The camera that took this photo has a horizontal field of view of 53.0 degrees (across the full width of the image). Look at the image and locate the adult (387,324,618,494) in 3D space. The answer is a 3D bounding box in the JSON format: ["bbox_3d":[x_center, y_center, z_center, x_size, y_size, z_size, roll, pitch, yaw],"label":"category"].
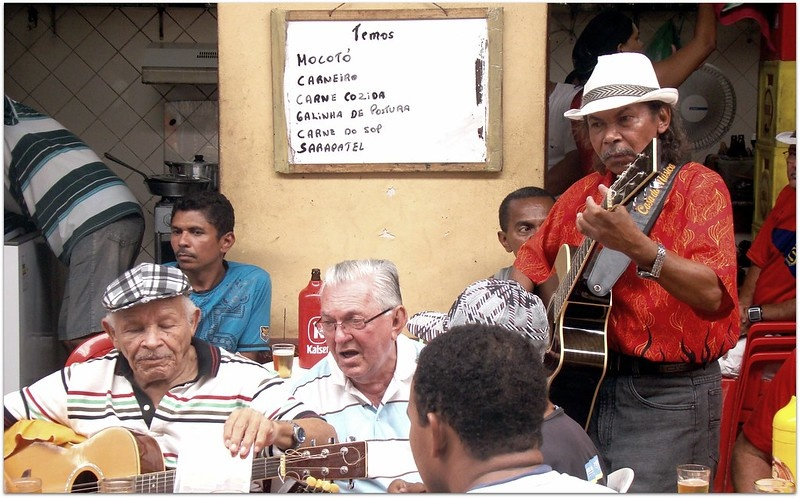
[{"bbox_3d":[0.352,0.693,3.275,0.620,0.415,0.779,-3,24,-12],"label":"adult"}]

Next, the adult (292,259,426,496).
[{"bbox_3d":[-0.215,0.696,4.124,0.972,1.117,0.631,-5,-10,21],"label":"adult"}]

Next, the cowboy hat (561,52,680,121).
[{"bbox_3d":[1.183,-0.849,4.223,0.396,0.212,0.380,-8,1,2],"label":"cowboy hat"}]

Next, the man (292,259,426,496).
[{"bbox_3d":[-0.215,0.696,4.124,0.972,1.117,0.631,-5,-10,21],"label":"man"}]

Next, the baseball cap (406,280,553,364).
[{"bbox_3d":[0.374,0.289,4.046,0.610,0.313,0.401,-2,5,17],"label":"baseball cap"}]

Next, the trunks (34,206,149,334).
[{"bbox_3d":[-2.440,0.310,6.561,0.748,1.395,1.030,11,-16,-17],"label":"trunks"}]

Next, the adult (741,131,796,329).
[{"bbox_3d":[2.574,-0.123,5.599,0.430,1.492,0.584,-4,-1,23],"label":"adult"}]

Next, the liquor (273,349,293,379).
[{"bbox_3d":[-0.687,0.678,4.743,0.149,0.165,0.147,-2,3,-17],"label":"liquor"}]

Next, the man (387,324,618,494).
[{"bbox_3d":[0.332,0.688,3.274,0.620,0.415,0.779,-3,24,-12],"label":"man"}]

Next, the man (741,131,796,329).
[{"bbox_3d":[2.574,-0.123,5.599,0.430,1.492,0.584,-4,-1,23],"label":"man"}]

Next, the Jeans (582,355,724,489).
[{"bbox_3d":[1.322,0.883,4.167,0.426,0.748,0.552,9,-11,-7],"label":"Jeans"}]

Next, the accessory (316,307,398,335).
[{"bbox_3d":[-0.221,0.375,4.182,0.391,0.129,0.076,-4,-1,6],"label":"accessory"}]

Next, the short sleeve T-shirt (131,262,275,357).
[{"bbox_3d":[-1.355,0.355,5.572,0.974,0.976,0.514,0,10,2],"label":"short sleeve T-shirt"}]

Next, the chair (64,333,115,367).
[{"bbox_3d":[-1.749,0.565,4.569,0.189,0.214,0.243,25,-7,-34],"label":"chair"}]

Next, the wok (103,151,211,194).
[{"bbox_3d":[-1.948,-0.538,6.321,0.906,0.153,0.535,9,13,29],"label":"wok"}]

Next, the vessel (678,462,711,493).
[{"bbox_3d":[1.391,1.093,3.858,0.180,0.144,0.163,-2,-3,14],"label":"vessel"}]
